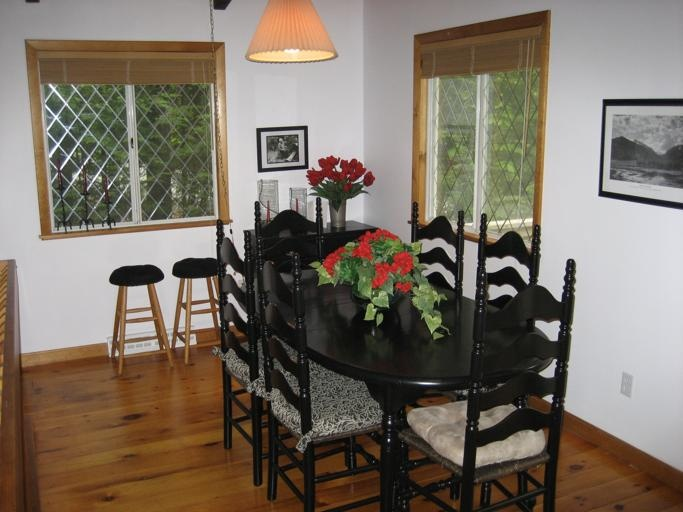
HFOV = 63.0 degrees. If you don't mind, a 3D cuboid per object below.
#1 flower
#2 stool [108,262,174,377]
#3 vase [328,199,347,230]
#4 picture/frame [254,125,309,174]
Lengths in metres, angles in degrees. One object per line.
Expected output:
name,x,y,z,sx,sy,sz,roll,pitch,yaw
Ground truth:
flower,-0.039,-0.567,4.887,0.514,0.489,0.526,2,3,-13
stool,-1.729,0.495,4.703,0.488,0.824,0.535,-6,11,-25
vase,-0.034,-0.354,4.942,0.213,0.344,0.211,0,2,-3
picture/frame,-0.585,-0.998,5.168,0.487,0.443,0.024,-4,6,-25
